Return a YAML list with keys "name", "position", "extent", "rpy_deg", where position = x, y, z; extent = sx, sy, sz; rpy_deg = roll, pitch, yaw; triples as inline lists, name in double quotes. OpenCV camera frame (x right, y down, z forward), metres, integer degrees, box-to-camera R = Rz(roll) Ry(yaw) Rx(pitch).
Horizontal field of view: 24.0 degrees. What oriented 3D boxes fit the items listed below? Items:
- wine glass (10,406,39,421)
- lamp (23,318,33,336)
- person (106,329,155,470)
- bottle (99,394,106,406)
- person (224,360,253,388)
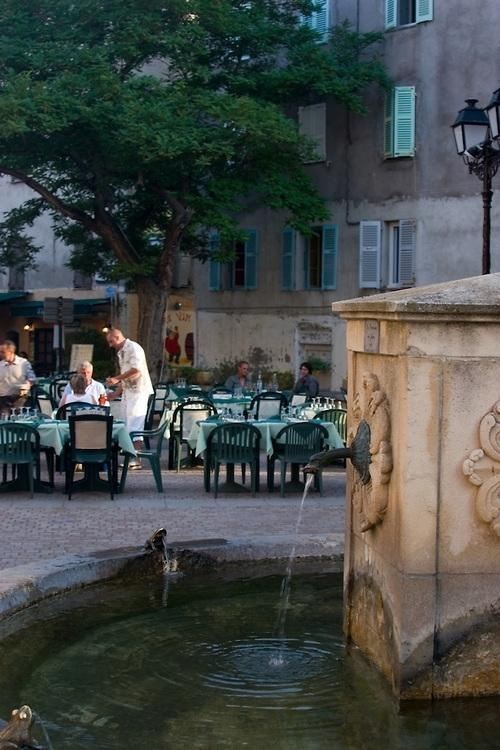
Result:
- name: "wine glass"
  position: [-2.414, 0.439, 12.604]
  extent: [0.227, 0.107, 0.301]
  rpy_deg: [1, 1, -2]
- name: "lamp"
  position: [-7.835, -1.663, 41.479]
  extent: [0.432, 0.432, 0.105]
  rpy_deg: [-33, -15, 21]
- name: "person"
  position: [-1.404, 0.275, 13.754]
  extent: [0.598, 1.587, 0.575]
  rpy_deg: [-1, -1, -36]
- name: "bottle"
  position: [-1.589, 0.270, 12.648]
  extent: [0.081, 0.136, 0.137]
  rpy_deg: [1, -4, 1]
- name: "person"
  position: [-0.223, -0.018, 22.133]
  extent: [0.540, 0.768, 0.423]
  rpy_deg: [3, 1, -27]
